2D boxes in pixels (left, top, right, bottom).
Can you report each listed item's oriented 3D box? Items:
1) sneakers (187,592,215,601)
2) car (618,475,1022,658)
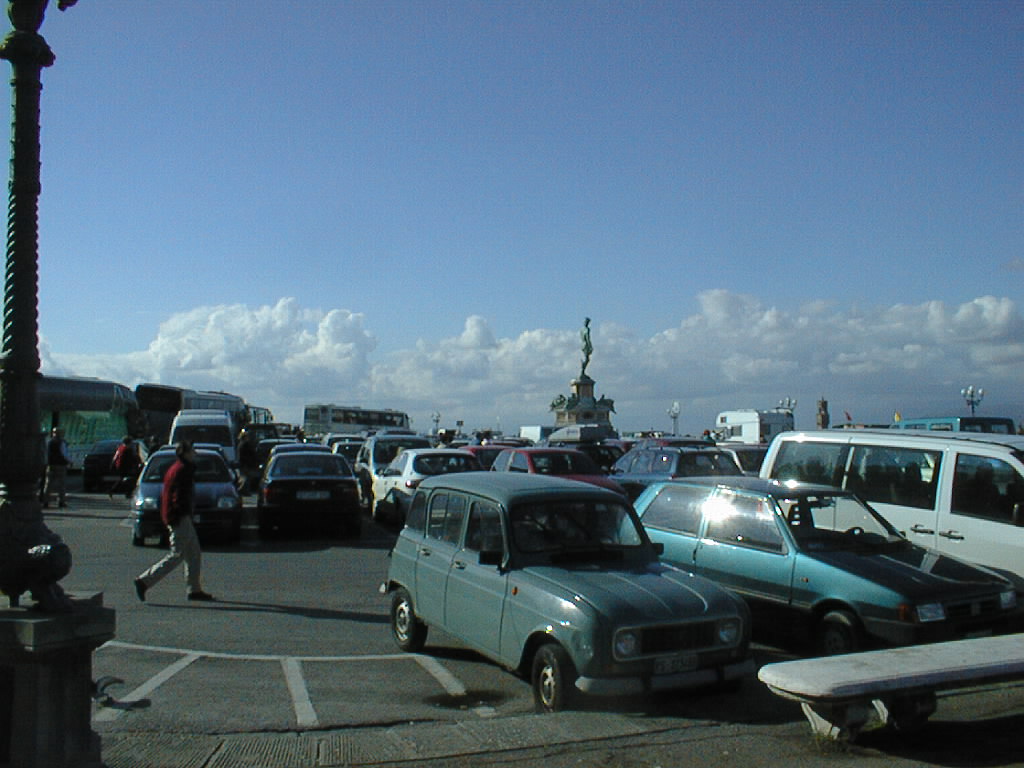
[{"bbox_3d":[-4.055,2.736,11.202,0.340,0.139,0.125,2,6,-16],"label":"sneakers"},{"bbox_3d":[3.007,1.803,9.259,1.732,1.227,3.551,0,0,-32],"label":"car"}]
